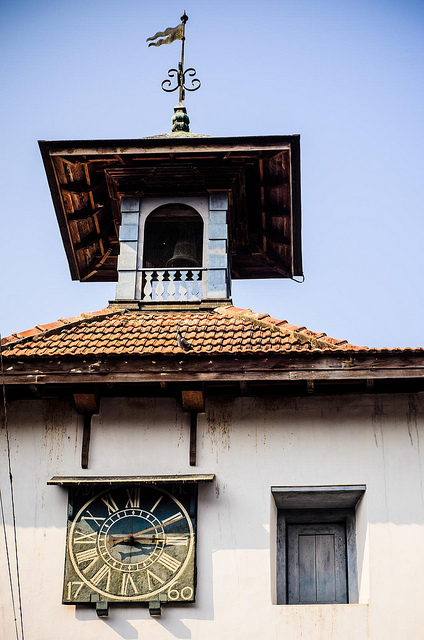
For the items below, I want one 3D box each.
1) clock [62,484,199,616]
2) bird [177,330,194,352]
[{"bbox_3d":[-0.860,2.537,15.930,1.261,1.754,0.189,-1,-41,2],"label":"clock"},{"bbox_3d":[-0.341,0.247,16.464,0.208,0.266,0.113,5,-13,-14],"label":"bird"}]
